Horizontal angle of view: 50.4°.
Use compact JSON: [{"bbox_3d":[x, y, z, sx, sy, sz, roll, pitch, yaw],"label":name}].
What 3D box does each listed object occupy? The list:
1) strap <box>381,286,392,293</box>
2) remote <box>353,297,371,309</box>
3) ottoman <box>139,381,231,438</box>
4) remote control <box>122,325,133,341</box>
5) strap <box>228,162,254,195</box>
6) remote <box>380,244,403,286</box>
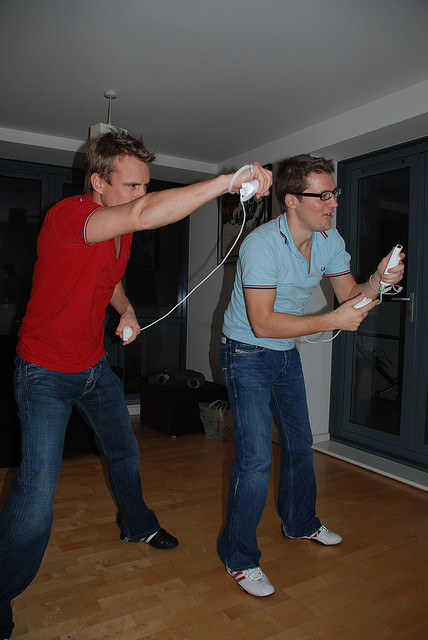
[{"bbox_3d":[0.657,-0.115,1.720,0.034,0.008,0.030,-29,-6,18],"label":"strap"},{"bbox_3d":[0.496,-0.059,1.510,0.047,0.037,0.093,1,-2,17],"label":"remote"},{"bbox_3d":[-0.241,0.718,4.044,0.717,0.488,0.709,0,2,-25],"label":"ottoman"},{"bbox_3d":[-0.314,0.047,1.664,0.041,0.047,0.037,19,-1,-10],"label":"remote control"},{"bbox_3d":[0.055,-0.319,0.982,0.028,0.077,0.059,19,9,17],"label":"strap"},{"bbox_3d":[0.629,-0.208,1.576,0.066,0.097,0.068,2,-2,-7],"label":"remote"}]
